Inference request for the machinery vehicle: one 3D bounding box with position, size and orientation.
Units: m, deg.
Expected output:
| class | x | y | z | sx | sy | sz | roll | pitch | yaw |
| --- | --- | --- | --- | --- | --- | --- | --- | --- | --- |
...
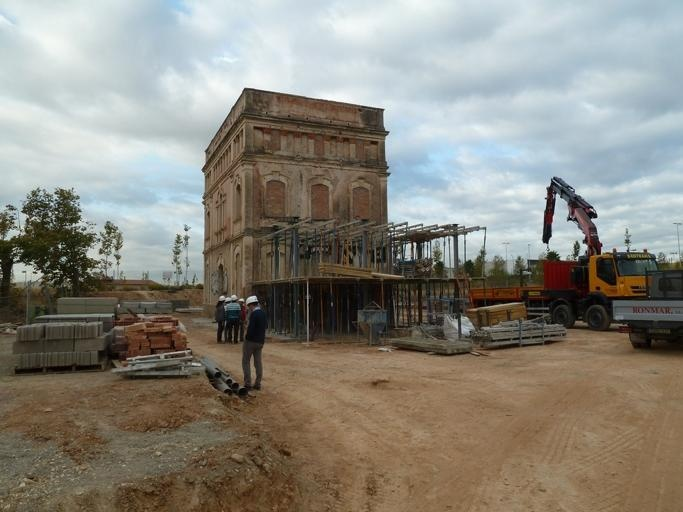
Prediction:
| class | x | y | z | sx | sy | sz | roll | pitch | yaw |
| --- | --- | --- | --- | --- | --- | --- | --- | --- | --- |
| machinery vehicle | 11.365 | -0.016 | 27.064 | 3.549 | 7.934 | 10.878 | 6 | -6 | -21 |
